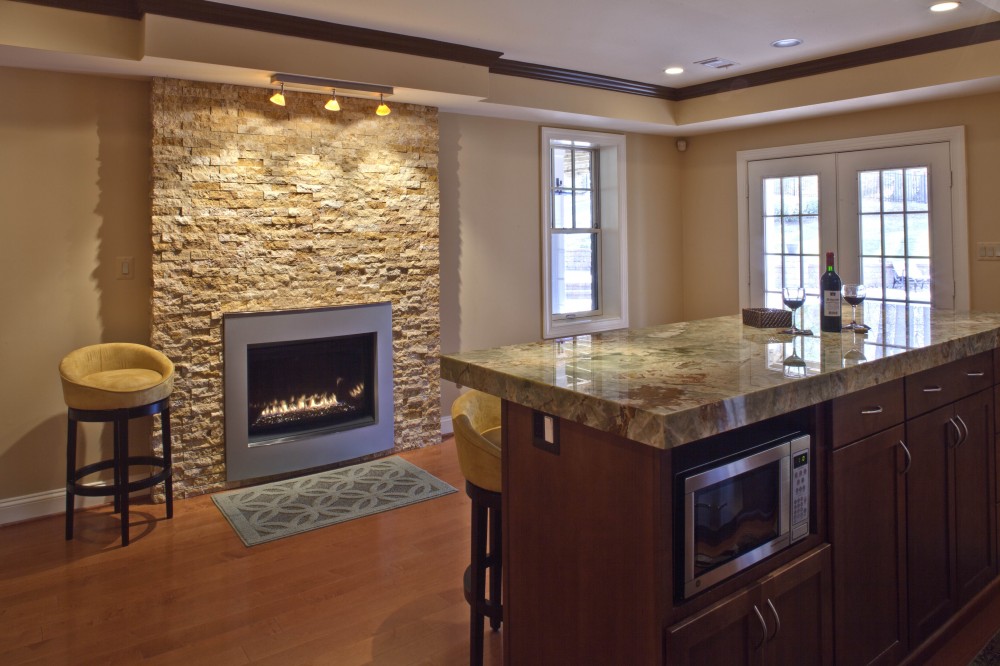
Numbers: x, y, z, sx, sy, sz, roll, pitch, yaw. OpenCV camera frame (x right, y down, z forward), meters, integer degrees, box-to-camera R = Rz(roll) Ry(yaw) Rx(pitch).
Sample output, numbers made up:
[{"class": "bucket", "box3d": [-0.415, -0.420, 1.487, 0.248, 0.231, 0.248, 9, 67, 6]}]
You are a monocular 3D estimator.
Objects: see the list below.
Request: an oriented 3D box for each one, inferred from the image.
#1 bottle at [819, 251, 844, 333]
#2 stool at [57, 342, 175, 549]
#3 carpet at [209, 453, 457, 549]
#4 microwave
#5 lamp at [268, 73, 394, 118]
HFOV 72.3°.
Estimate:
[{"class": "bottle", "box3d": [1.747, -0.211, 3.592, 0.125, 0.391, 0.181, 5, 15, 24]}, {"class": "stool", "box3d": [-2.517, 0.717, 4.562, 0.713, 1.152, 0.680, -3, 9, -33]}, {"class": "carpet", "box3d": [-1.206, 1.173, 4.924, 1.518, 0.046, 0.849, -7, 15, -27]}, {"class": "microwave", "box3d": [0.883, 0.700, 2.867, 0.813, 0.480, 0.490, -7, 8, -31]}, {"class": "lamp", "box3d": [-1.191, -1.709, 4.920, 0.867, 0.197, 0.145, -3, 19, -28]}]
